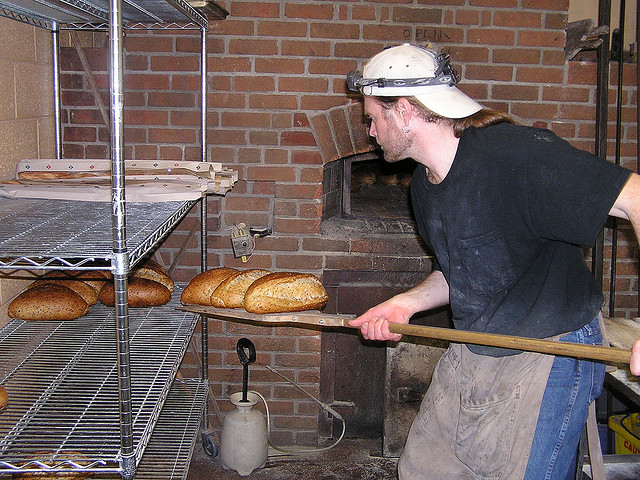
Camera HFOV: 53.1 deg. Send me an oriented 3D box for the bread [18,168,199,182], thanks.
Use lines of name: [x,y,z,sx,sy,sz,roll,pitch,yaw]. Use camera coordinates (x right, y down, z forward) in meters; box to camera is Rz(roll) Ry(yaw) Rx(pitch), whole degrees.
bread: [-0.946,-0.289,2.890,0.783,0.079,0.106,0,3,-11]

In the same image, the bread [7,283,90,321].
bread: [-1.170,0.310,2.766,0.253,0.165,0.216,2,3,11]

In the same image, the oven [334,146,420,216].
oven: [0.365,-0.381,4.163,0.480,0.262,0.451,3,14,16]

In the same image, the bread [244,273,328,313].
bread: [-0.124,0.195,2.701,0.330,0.167,0.120,-3,-33,-27]

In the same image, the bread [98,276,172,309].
bread: [-0.884,0.253,3.070,0.362,0.113,0.238,0,25,10]

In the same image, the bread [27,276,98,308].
bread: [-1.115,0.248,2.923,0.202,0.068,0.224,9,5,-12]

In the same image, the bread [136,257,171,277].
bread: [-0.846,0.149,3.211,0.124,0.031,0.107,15,-10,31]

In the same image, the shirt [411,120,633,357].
shirt: [0.696,-0.021,2.293,0.779,0.809,0.265,4,4,41]

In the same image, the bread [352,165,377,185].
bread: [0.312,-0.437,4.383,0.146,0.072,0.112,18,1,29]
